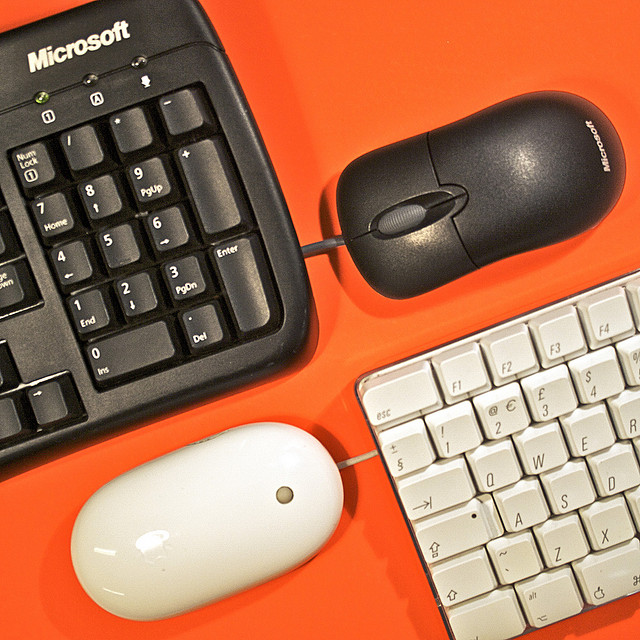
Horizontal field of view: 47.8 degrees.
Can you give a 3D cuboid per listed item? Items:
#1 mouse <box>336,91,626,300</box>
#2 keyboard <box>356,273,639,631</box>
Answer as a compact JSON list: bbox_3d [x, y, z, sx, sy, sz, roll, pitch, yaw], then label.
[{"bbox_3d":[0.116,-0.091,0.578,0.217,0.056,0.116,-20,-95,5],"label":"mouse"},{"bbox_3d":[0.176,0.115,0.565,0.237,0.142,0.201,-19,-56,2],"label":"keyboard"}]
